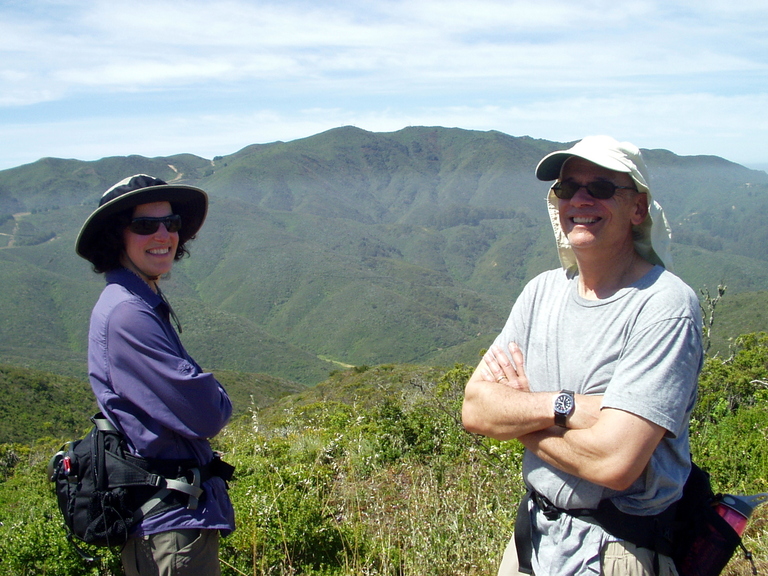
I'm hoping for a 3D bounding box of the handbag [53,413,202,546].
[{"bbox_3d":[-1.621,1.306,3.996,0.973,0.675,0.795,11,54,-10],"label":"handbag"}]
